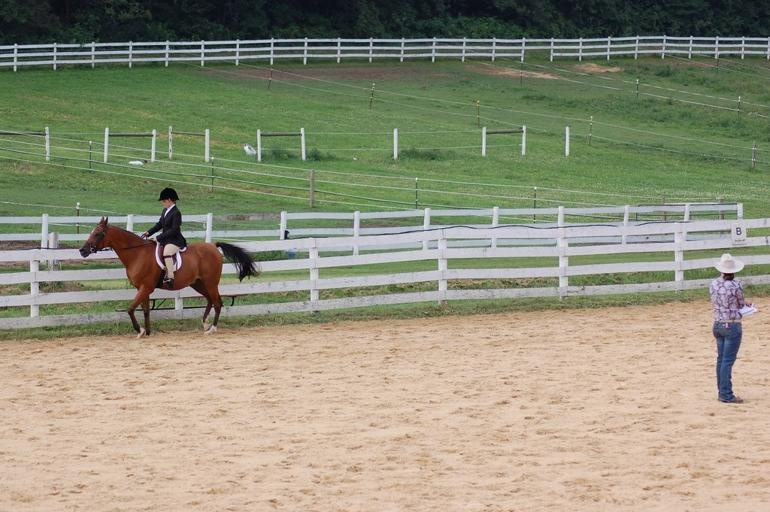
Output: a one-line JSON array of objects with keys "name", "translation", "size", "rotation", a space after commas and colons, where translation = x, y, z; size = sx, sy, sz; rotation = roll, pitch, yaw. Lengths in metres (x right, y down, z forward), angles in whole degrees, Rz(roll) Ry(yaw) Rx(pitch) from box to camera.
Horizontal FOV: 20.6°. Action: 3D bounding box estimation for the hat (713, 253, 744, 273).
[{"name": "hat", "translation": [14.591, 0.259, 90.377], "size": [0.964, 0.367, 1.017], "rotation": [-6, 25, 1]}]
